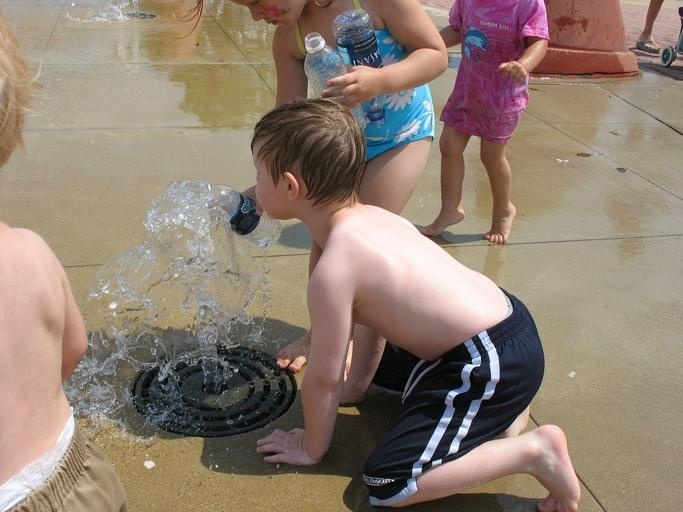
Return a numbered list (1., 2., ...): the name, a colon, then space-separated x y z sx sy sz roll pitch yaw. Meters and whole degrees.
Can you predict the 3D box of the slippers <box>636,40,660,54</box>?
1. slippers: 4.211 -2.869 9.688 0.181 0.101 0.324 -1 21 -3
